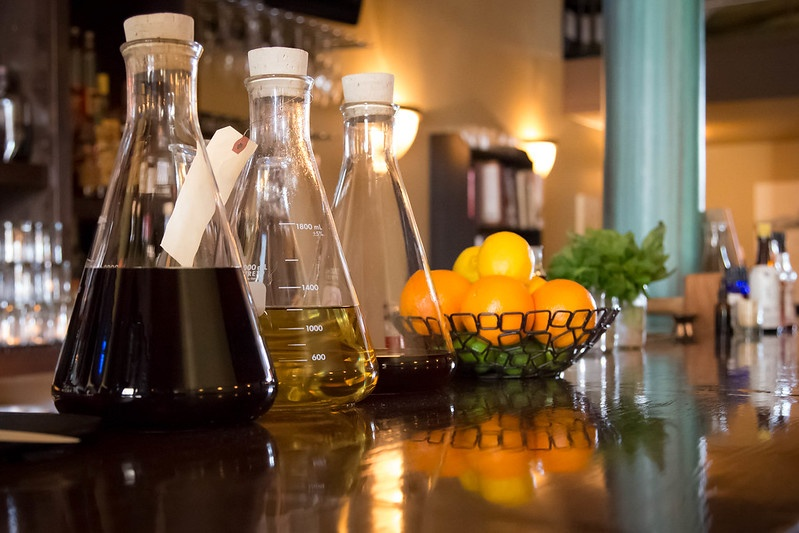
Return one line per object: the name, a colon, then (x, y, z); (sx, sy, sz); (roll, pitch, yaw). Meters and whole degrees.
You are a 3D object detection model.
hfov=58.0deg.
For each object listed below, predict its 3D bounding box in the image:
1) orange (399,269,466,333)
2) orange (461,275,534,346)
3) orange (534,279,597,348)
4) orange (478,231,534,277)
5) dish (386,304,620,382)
orange: (0.032, 0.038, 0.717); (0.047, 0.044, 0.056); (25, 24, 22)
orange: (0.105, 0.047, 0.817); (0.081, 0.075, 0.075); (1, 4, -1)
orange: (0.172, 0.054, 0.808); (0.078, 0.073, 0.072); (0, -7, -2)
orange: (0.125, -0.011, 0.845); (0.067, 0.057, 0.071); (1, 3, 7)
dish: (0.129, 0.087, 0.857); (0.247, 0.069, 0.243); (-3, -3, 28)
